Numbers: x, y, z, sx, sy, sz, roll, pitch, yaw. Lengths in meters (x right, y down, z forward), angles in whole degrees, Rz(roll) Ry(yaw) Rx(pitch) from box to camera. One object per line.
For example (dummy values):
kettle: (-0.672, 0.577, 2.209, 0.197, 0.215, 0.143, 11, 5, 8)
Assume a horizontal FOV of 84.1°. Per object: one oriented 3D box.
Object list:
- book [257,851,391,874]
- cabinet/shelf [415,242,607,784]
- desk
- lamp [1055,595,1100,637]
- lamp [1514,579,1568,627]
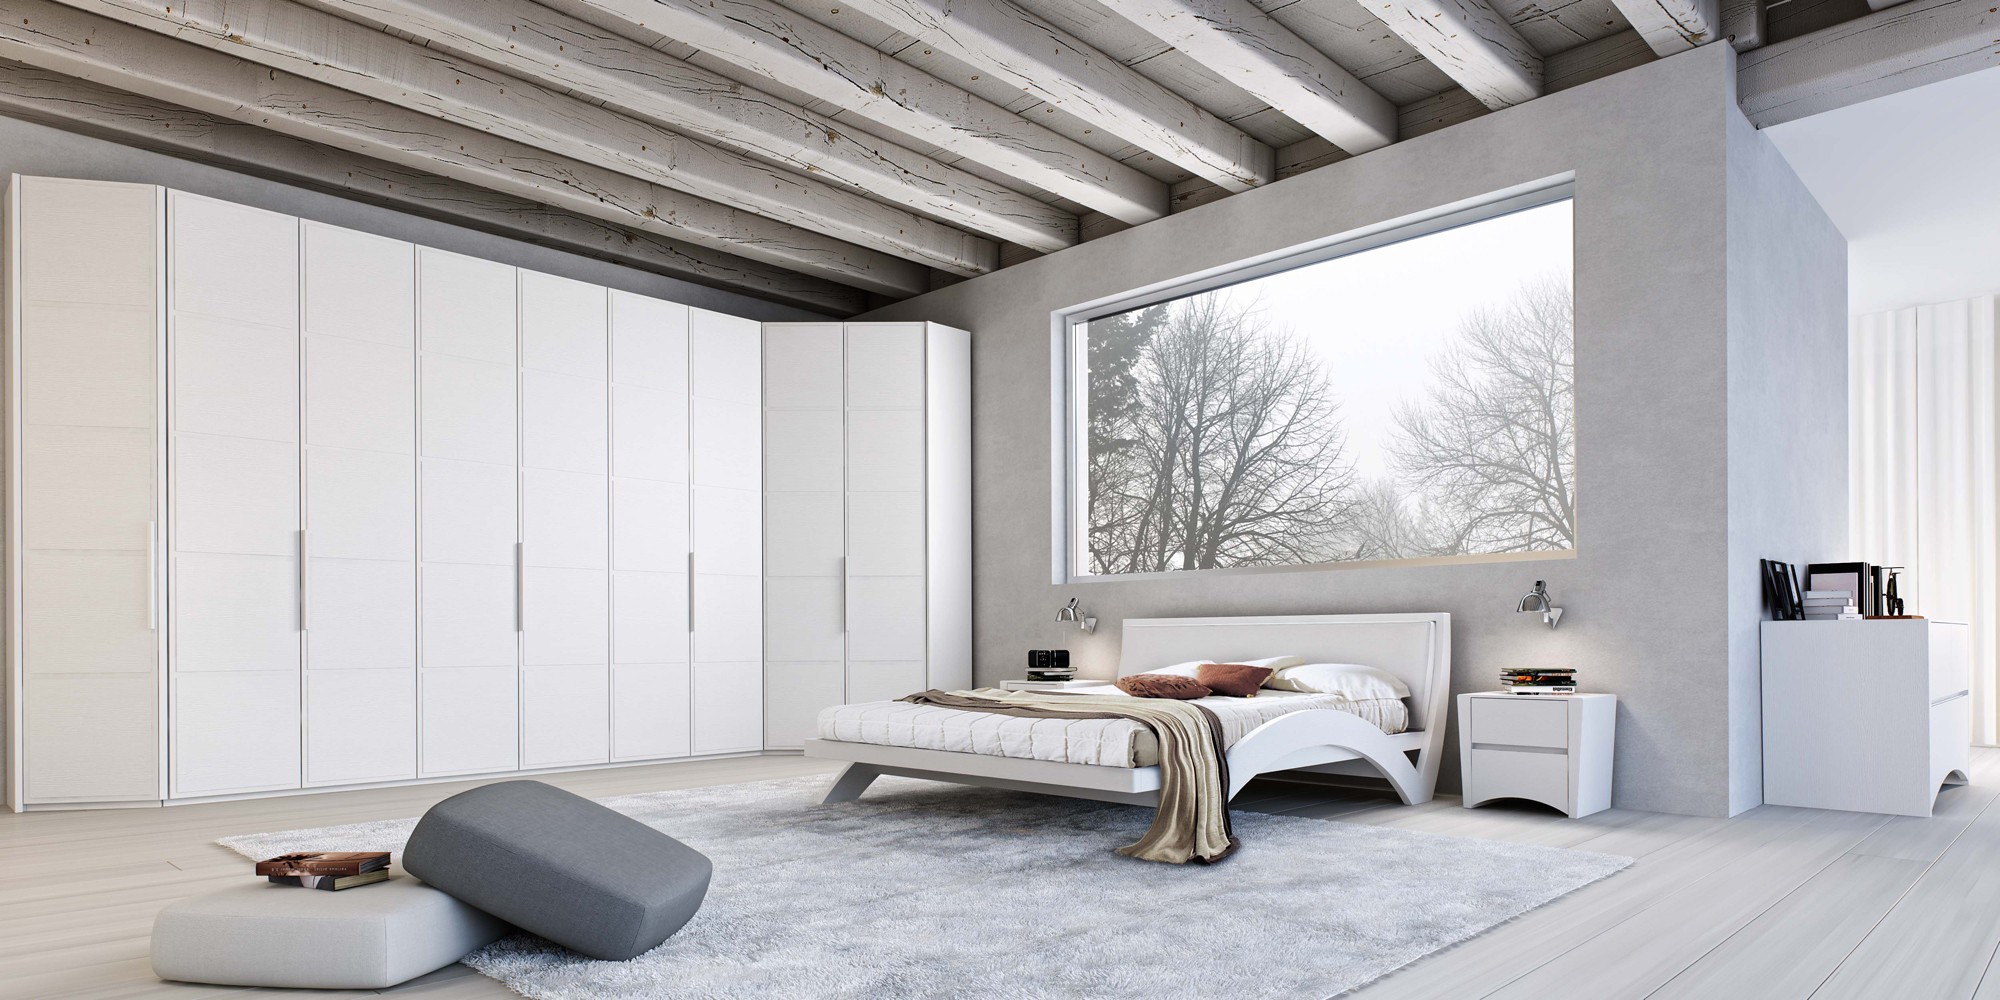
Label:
book: (-3.556, 1.932, 5.896, 0.386, 0.057, 0.349, -4, -7, 29)
cabinet/shelf: (-4.052, 0.268, 9.638, 0.352, 3.739, 1.273, 0, -4, 26)
desk: (5.931, 1.528, 7.832, 1.068, 1.400, 0.428, 1, 11, 11)
lamp: (0.697, 1.066, 10.194, 0.295, 0.328, 0.134, -33, -13, 21)
lamp: (4.033, 0.768, 8.281, 0.328, 0.360, 0.140, 2, 11, 16)
